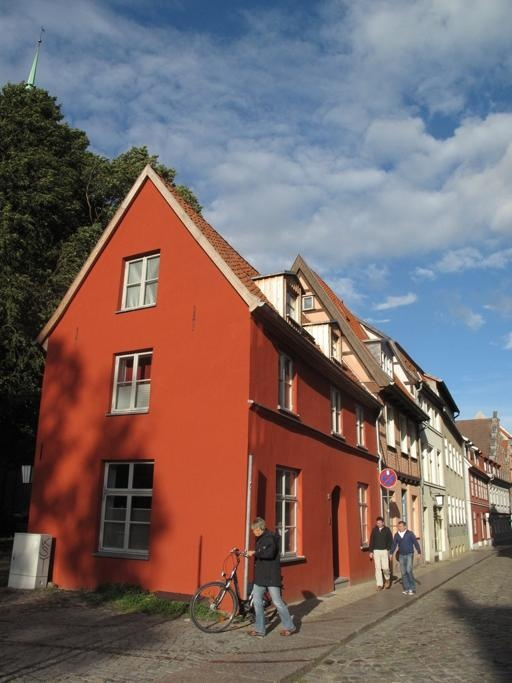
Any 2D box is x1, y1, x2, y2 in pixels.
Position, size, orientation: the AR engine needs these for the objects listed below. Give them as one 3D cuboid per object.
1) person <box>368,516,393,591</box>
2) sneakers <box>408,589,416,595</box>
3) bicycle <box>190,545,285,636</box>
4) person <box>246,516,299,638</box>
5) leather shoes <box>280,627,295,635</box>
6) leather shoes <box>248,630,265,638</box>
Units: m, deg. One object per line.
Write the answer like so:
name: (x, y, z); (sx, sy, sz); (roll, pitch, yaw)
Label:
person: (3.370, 5.678, 13.915); (0.615, 1.836, 1.147); (-4, -18, 11)
sneakers: (3.711, 5.989, 12.389); (0.119, 0.082, 0.464); (-6, -18, 16)
bicycle: (-0.224, 3.980, 8.242); (1.893, 1.117, 0.865); (22, -21, -40)
person: (0.195, 3.373, 7.470); (0.635, 1.543, 0.501); (-3, -17, 6)
leather shoes: (0.462, 4.052, 7.280); (0.126, 0.066, 0.243); (-9, -24, 26)
leather shoes: (0.003, 4.040, 7.201); (0.225, 0.087, 0.091); (5, -19, 18)
